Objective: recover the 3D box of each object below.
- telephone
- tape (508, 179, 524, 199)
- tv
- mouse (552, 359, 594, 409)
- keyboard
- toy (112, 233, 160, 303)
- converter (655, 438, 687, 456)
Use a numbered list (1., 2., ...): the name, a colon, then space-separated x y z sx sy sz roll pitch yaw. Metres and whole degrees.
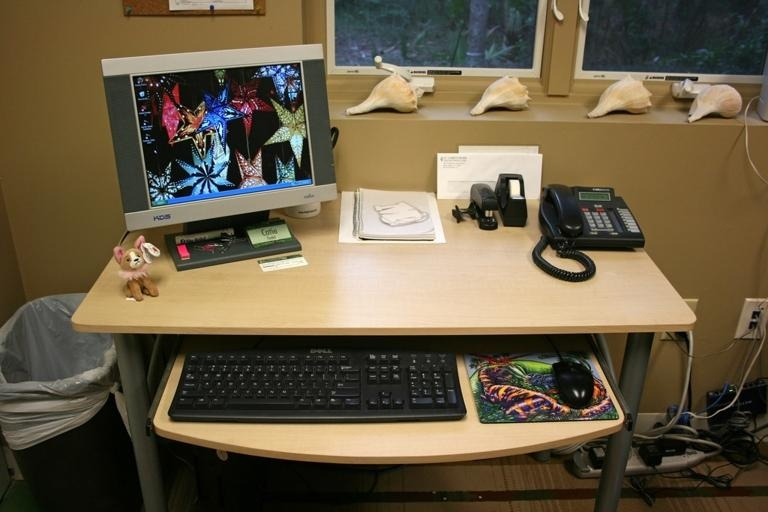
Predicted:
1. telephone: 0.698 -0.144 1.981 0.302 0.152 0.270 1 27 -4
2. tape: 0.459 -0.236 2.031 0.037 0.069 0.023 -1 -15 2
3. tv: -0.501 -0.308 1.844 0.748 0.675 0.258 -8 35 -17
4. mouse: 0.548 0.359 1.666 0.083 0.043 0.135 2 33 3
5. keyboard: -0.185 0.384 1.680 0.796 0.064 0.285 2 33 -9
6. toy: -0.748 0.042 1.760 0.137 0.204 0.146 12 21 32
7. converter: 1.170 0.775 2.365 0.106 0.070 0.025 1 -3 0
